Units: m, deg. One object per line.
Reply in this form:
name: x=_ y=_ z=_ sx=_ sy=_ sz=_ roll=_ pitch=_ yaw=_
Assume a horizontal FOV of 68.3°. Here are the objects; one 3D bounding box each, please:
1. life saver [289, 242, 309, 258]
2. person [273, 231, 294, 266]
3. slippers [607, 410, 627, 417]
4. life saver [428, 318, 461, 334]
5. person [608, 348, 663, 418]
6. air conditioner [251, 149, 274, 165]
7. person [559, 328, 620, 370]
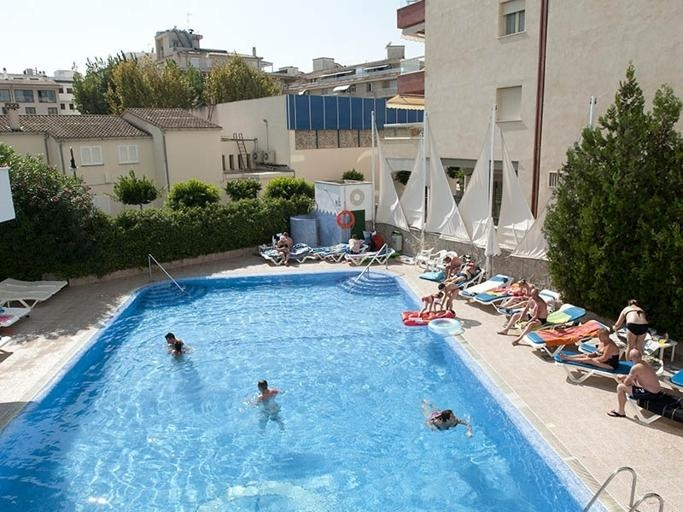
life saver: x=-2.171 y=-0.218 z=25.102 sx=0.596 sy=0.348 sz=0.861 roll=-4 pitch=19 yaw=-1
person: x=-2.983 y=-0.388 z=25.355 sx=0.890 sy=1.290 sz=2.797 roll=-3 pitch=11 yaw=-8
slippers: x=6.650 y=3.868 z=12.275 sx=0.286 sy=0.095 sz=0.164 roll=4 pitch=8 yaw=31
life saver: x=3.487 y=2.420 z=17.077 sx=0.576 sy=0.178 sz=0.615 roll=-3 pitch=12 yaw=-10
person: x=7.036 y=3.113 z=12.324 sx=1.020 sy=1.607 sz=1.218 roll=-3 pitch=4 yaw=1
air conditioner: x=-6.759 y=-8.363 z=43.480 sx=2.547 sy=1.115 sz=0.478 roll=8 pitch=14 yaw=40
person: x=6.517 y=2.499 z=13.514 sx=1.573 sy=1.187 sz=0.781 roll=2 pitch=6 yaw=19
